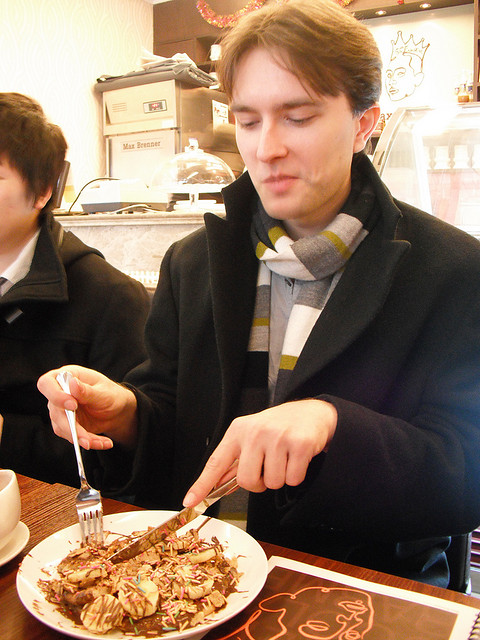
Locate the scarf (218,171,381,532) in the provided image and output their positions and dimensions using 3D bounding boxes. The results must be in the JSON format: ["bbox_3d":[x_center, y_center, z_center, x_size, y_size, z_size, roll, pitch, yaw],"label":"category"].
[{"bbox_3d":[0.113,0.067,1.003,0.291,0.717,0.348,4,15,16],"label":"scarf"}]

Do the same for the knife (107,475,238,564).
[{"bbox_3d":[-0.070,0.234,0.583,0.174,0.068,0.037,-9,16,-33],"label":"knife"}]
